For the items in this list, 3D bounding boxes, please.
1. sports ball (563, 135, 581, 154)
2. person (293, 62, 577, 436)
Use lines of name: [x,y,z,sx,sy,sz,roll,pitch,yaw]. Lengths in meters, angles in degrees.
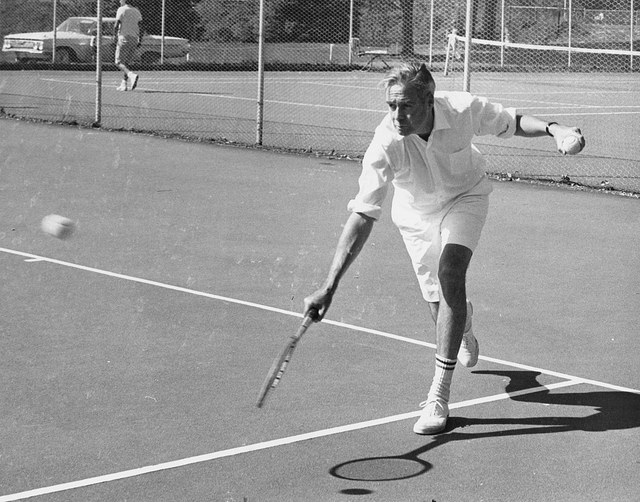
sports ball: [1.194,-0.500,2.767,0.079,0.082,0.081,-21,-1,-1]
person: [0.754,-0.047,3.065,1.126,1.836,1.517,5,15,37]
